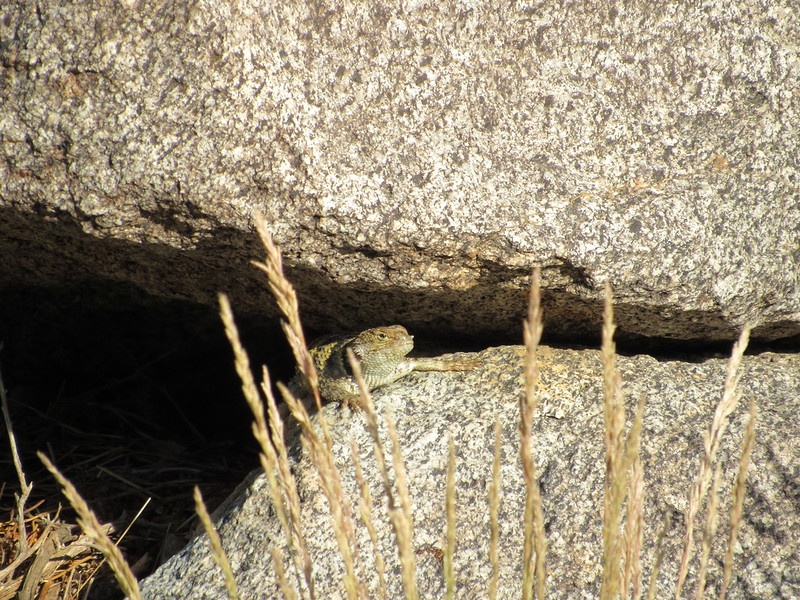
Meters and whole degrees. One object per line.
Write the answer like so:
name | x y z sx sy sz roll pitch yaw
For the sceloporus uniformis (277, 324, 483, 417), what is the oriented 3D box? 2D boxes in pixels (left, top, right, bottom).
sceloporus uniformis | -0.258 0.452 10.629 0.718 0.280 0.864 -21 9 -35
